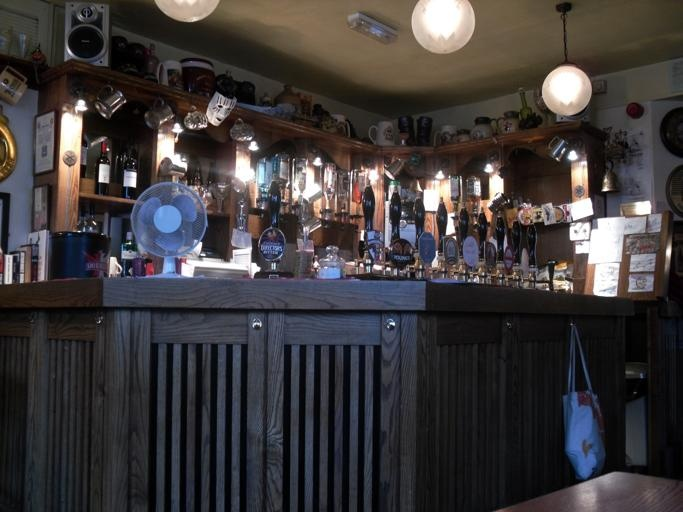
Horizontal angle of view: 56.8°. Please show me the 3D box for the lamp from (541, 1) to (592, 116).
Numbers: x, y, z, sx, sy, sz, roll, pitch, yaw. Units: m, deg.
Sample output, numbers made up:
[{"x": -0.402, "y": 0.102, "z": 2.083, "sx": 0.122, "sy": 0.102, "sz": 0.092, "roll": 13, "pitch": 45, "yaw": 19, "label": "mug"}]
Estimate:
[{"x": 1.909, "y": -1.576, "z": 5.320, "sx": 0.353, "sy": 0.888, "sz": 0.735, "roll": 1, "pitch": -1, "yaw": 23, "label": "lamp"}]

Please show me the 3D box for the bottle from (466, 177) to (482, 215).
[{"x": 1.341, "y": -0.560, "z": 6.384, "sx": 0.131, "sy": 0.451, "sz": 0.126, "roll": -4, "pitch": 4, "yaw": 0, "label": "bottle"}]

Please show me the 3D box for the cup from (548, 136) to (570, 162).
[{"x": 2.052, "y": -1.015, "z": 5.967, "sx": 0.115, "sy": 0.216, "sz": 0.091, "roll": 18, "pitch": -31, "yaw": 24, "label": "cup"}]

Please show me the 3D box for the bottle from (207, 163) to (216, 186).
[{"x": -1.186, "y": -0.758, "z": 5.792, "sx": 0.075, "sy": 0.194, "sz": 0.038, "roll": 2, "pitch": -1, "yaw": -30, "label": "bottle"}]

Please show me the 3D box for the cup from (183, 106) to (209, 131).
[{"x": -1.214, "y": -1.134, "z": 5.265, "sx": 0.199, "sy": 0.202, "sz": 0.384, "roll": 2, "pitch": 0, "yaw": -13, "label": "cup"}]

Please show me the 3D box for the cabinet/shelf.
[{"x": 0.182, "y": -0.647, "z": 6.066, "sx": 4.790, "sy": 1.334, "sz": 1.551, "roll": 2, "pitch": -1, "yaw": -18, "label": "cabinet/shelf"}]

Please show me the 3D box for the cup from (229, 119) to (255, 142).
[{"x": -0.868, "y": -1.079, "z": 5.464, "sx": 0.164, "sy": 0.189, "sz": 0.093, "roll": -1, "pitch": 12, "yaw": 1, "label": "cup"}]

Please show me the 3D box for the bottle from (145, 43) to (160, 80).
[{"x": -1.533, "y": -1.557, "z": 5.149, "sx": 0.095, "sy": 0.351, "sz": 0.291, "roll": 2, "pitch": -1, "yaw": -18, "label": "bottle"}]

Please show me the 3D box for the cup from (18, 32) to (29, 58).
[{"x": -2.467, "y": -1.636, "z": 4.891, "sx": 0.069, "sy": 0.180, "sz": 0.251, "roll": 2, "pitch": -1, "yaw": -27, "label": "cup"}]

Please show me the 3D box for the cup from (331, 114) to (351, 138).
[{"x": 0.009, "y": -1.313, "z": 6.427, "sx": 0.159, "sy": 0.252, "sz": 0.242, "roll": 1, "pitch": 6, "yaw": 2, "label": "cup"}]

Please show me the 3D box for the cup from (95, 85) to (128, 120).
[{"x": -1.729, "y": -1.142, "z": 4.746, "sx": 0.098, "sy": 0.135, "sz": 0.160, "roll": 40, "pitch": 25, "yaw": -10, "label": "cup"}]

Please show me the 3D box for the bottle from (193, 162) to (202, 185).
[{"x": -1.279, "y": -0.727, "z": 5.626, "sx": 0.073, "sy": 0.231, "sz": 0.246, "roll": 2, "pitch": -1, "yaw": -14, "label": "bottle"}]

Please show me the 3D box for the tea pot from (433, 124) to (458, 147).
[{"x": 1.157, "y": -1.310, "z": 6.933, "sx": 0.178, "sy": 0.271, "sz": 0.281, "roll": 5, "pitch": -7, "yaw": -39, "label": "tea pot"}]

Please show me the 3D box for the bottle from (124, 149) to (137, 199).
[{"x": -1.703, "y": -0.659, "z": 5.112, "sx": 0.107, "sy": 0.290, "sz": 0.408, "roll": 2, "pitch": -1, "yaw": -19, "label": "bottle"}]

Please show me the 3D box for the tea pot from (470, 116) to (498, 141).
[{"x": 1.485, "y": -1.306, "z": 6.644, "sx": 0.279, "sy": 0.313, "sz": 0.228, "roll": 1, "pitch": -19, "yaw": 9, "label": "tea pot"}]

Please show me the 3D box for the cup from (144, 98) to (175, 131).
[{"x": -1.466, "y": -1.127, "z": 5.028, "sx": 0.164, "sy": 0.281, "sz": 0.189, "roll": 30, "pitch": 52, "yaw": 28, "label": "cup"}]

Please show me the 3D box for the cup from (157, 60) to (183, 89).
[{"x": -1.381, "y": -1.467, "z": 5.215, "sx": 0.196, "sy": 0.258, "sz": 0.225, "roll": 1, "pitch": 0, "yaw": 2, "label": "cup"}]

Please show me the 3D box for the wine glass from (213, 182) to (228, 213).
[{"x": -1.051, "y": -0.499, "z": 5.477, "sx": 0.118, "sy": 0.240, "sz": 0.138, "roll": 2, "pitch": -1, "yaw": -13, "label": "wine glass"}]

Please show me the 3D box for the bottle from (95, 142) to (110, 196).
[{"x": -1.858, "y": -0.660, "z": 4.922, "sx": 0.098, "sy": 0.309, "sz": 0.189, "roll": 2, "pitch": -1, "yaw": -23, "label": "bottle"}]

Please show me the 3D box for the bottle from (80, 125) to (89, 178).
[{"x": -2.012, "y": -0.799, "z": 4.954, "sx": 0.055, "sy": 0.281, "sz": 0.394, "roll": 2, "pitch": -1, "yaw": -22, "label": "bottle"}]

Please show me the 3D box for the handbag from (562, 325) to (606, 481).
[{"x": 1.388, "y": 0.834, "z": 3.620, "sx": 0.218, "sy": 0.879, "sz": 0.404, "roll": 1, "pitch": -1, "yaw": 21, "label": "handbag"}]

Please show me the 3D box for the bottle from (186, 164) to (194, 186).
[{"x": -1.329, "y": -0.708, "z": 5.563, "sx": 0.074, "sy": 0.217, "sz": 0.254, "roll": 2, "pitch": -1, "yaw": -14, "label": "bottle"}]
